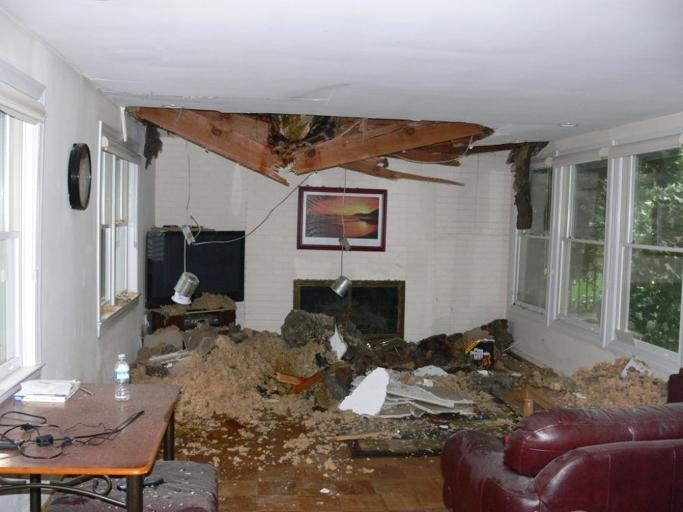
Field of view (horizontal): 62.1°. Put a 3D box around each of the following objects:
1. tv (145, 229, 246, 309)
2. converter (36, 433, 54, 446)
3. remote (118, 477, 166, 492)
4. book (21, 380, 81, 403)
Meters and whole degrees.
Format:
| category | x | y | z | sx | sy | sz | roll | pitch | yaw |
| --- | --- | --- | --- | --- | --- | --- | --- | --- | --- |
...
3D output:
| category | x | y | z | sx | sy | sz | roll | pitch | yaw |
| --- | --- | --- | --- | --- | --- | --- | --- | --- | --- |
| tv | -1.628 | 0.138 | 6.645 | 1.511 | 0.882 | 0.183 | -2 | -4 | 27 |
| converter | -1.421 | 0.897 | 2.755 | 0.078 | 0.043 | 0.068 | 0 | 2 | -26 |
| remote | -1.053 | 1.245 | 3.078 | 0.216 | 0.047 | 0.184 | 1 | 2 | 4 |
| book | -1.644 | 0.771 | 3.213 | 0.179 | 0.040 | 0.168 | 2 | 5 | -3 |
